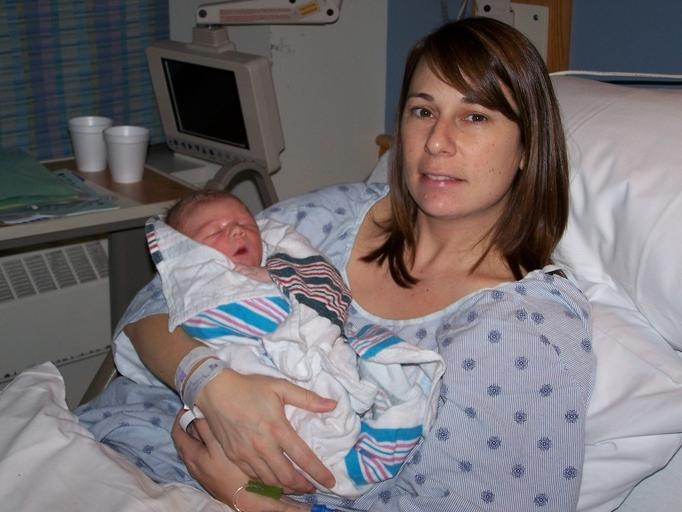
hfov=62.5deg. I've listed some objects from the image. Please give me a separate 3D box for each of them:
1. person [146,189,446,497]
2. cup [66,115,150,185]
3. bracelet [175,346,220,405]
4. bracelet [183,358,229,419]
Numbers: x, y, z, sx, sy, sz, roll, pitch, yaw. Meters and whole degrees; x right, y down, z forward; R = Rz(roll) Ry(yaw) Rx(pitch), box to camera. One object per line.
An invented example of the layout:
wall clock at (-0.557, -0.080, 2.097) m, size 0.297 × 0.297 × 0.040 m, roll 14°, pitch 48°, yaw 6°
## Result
person at (-0.123, 0.158, 1.289) m, size 0.473 × 0.209 × 0.761 m, roll -7°, pitch 46°, yaw -40°
cup at (-0.826, -0.394, 2.096) m, size 0.341 × 0.202 × 0.210 m, roll 15°, pitch 26°, yaw 28°
bracelet at (-0.283, 0.259, 1.185) m, size 0.088 × 0.119 × 0.085 m, roll 35°, pitch 69°, yaw 3°
bracelet at (-0.287, 0.273, 1.140) m, size 0.083 × 0.114 × 0.042 m, roll 32°, pitch 2°, yaw 34°
